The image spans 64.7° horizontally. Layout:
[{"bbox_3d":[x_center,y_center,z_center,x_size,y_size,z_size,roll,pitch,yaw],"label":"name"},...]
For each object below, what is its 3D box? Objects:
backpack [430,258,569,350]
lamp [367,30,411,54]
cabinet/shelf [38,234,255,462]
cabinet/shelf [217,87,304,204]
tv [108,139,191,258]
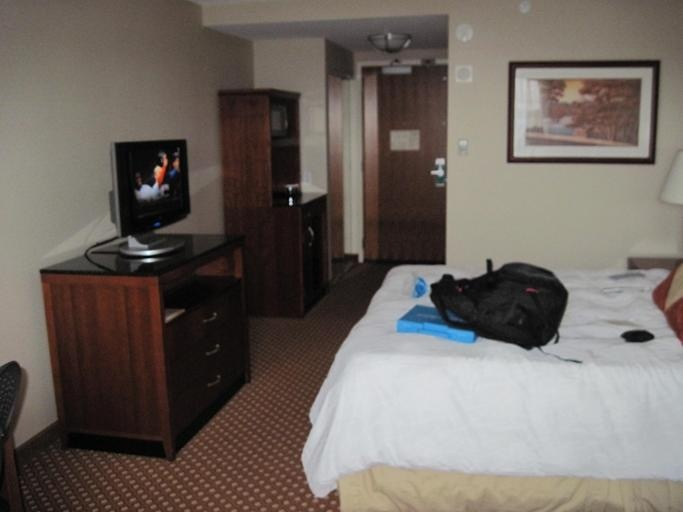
[{"bbox_3d":[0.857,0.257,2.900,0.568,0.263,0.480,6,21,8],"label":"backpack"},{"bbox_3d":[0.496,-2.214,5.589,0.422,0.177,0.303,1,18,3],"label":"lamp"},{"bbox_3d":[-1.116,0.572,3.322,1.220,1.115,0.647,-11,20,-30],"label":"cabinet/shelf"},{"bbox_3d":[-0.822,-1.064,5.206,0.532,1.034,1.065,0,15,6],"label":"cabinet/shelf"},{"bbox_3d":[-1.255,-0.375,3.477,0.361,0.614,0.693,3,16,8],"label":"tv"}]
